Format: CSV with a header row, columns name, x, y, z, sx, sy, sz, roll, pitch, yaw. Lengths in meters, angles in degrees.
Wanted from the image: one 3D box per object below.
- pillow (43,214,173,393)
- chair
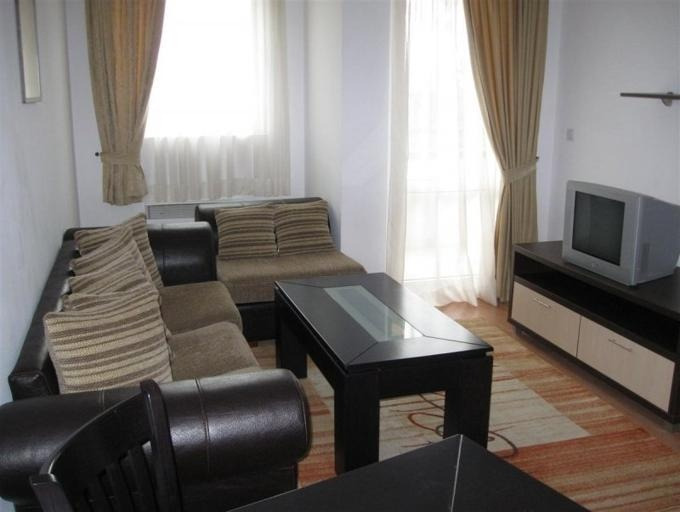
name,x,y,z,sx,sy,sz,roll,pitch,yaw
pillow,-0.944,0.251,2.252,0.454,0.226,0.766,9,43,-34
chair,-0.515,-0.055,4.469,1.238,1.230,1.151,-3,8,-22
